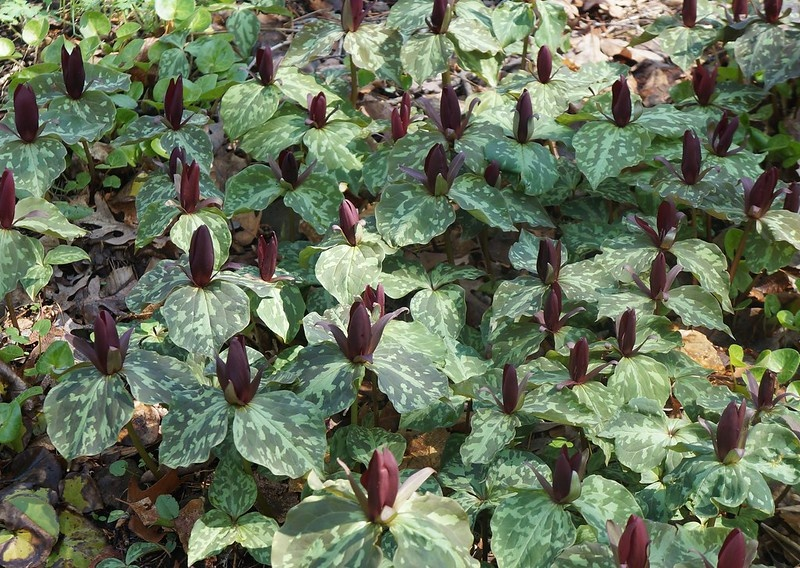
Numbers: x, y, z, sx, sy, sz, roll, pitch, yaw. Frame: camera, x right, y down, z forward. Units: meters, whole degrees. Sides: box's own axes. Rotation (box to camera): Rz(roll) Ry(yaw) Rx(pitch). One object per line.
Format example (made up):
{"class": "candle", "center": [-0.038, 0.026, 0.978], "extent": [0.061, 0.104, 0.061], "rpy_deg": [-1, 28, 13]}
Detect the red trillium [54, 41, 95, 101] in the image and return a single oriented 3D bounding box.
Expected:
{"class": "red trillium", "center": [-2.011, -1.313, 4.363], "extent": [0.195, 0.330, 0.223], "rpy_deg": [-7, 32, -9]}

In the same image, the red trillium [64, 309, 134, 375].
{"class": "red trillium", "center": [-1.470, 0.283, 3.427], "extent": [0.265, 0.317, 0.173], "rpy_deg": [4, 32, 6]}
